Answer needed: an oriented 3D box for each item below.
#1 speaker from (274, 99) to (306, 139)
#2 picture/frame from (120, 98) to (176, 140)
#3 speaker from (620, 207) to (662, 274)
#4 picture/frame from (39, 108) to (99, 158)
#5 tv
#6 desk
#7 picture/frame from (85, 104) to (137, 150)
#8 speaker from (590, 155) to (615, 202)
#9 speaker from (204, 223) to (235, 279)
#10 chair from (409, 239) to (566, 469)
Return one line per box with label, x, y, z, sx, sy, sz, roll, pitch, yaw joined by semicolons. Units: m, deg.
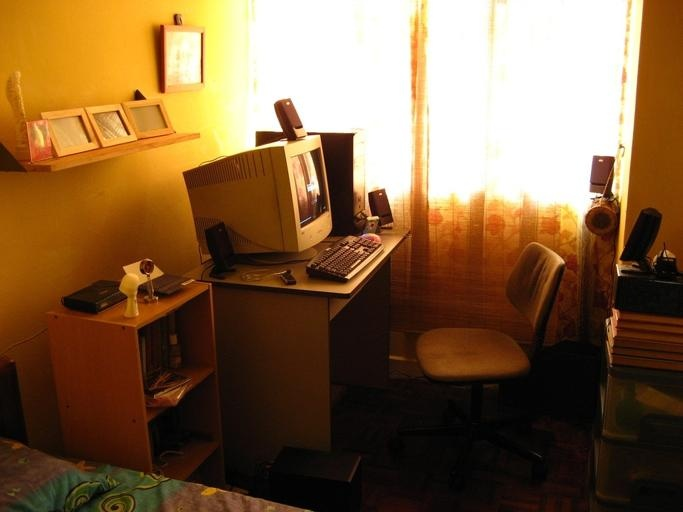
speaker;-0.258;-0.690;2.700;0.136;0.205;0.247;-7;23;-11
picture/frame;-0.906;-0.635;2.512;0.042;0.217;0.267;4;30;36
speaker;1.255;-0.068;2.218;0.122;0.264;0.114;-21;28;-39
picture/frame;-1.068;-0.499;2.115;0.189;0.169;0.021;-6;28;10
tv;-0.385;-0.361;2.784;0.603;0.556;0.623;4;16;15
desk;-0.146;0.350;3.022;1.001;1.264;1.349;5;20;15
picture/frame;-0.972;-0.580;2.351;0.055;0.228;0.241;18;29;29
speaker;1.415;-0.434;2.882;0.118;0.210;0.094;8;24;23
speaker;-0.575;-0.032;2.549;0.100;0.274;0.171;-3;21;19
chair;0.715;0.487;2.733;0.682;1.060;0.679;4;23;16
